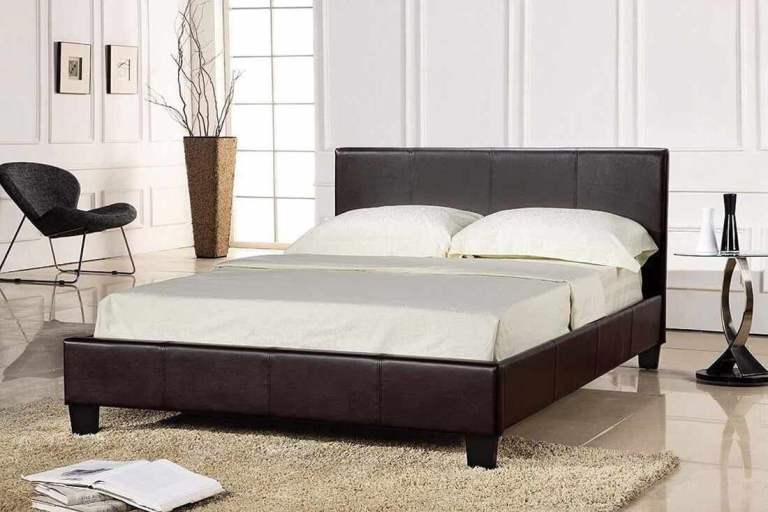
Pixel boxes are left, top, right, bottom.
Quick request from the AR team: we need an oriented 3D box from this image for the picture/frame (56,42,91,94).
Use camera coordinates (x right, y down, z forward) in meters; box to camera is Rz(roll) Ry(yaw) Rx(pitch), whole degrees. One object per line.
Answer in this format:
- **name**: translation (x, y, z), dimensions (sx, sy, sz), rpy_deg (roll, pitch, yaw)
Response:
- **picture/frame**: translation (-3.100, -1.849, 6.829), dimensions (0.076, 0.512, 0.390), rpy_deg (5, 8, 27)

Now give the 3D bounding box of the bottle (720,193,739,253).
- **bottle**: translation (1.855, -0.179, 3.673), dimensions (0.094, 0.302, 0.392), rpy_deg (4, 8, 25)

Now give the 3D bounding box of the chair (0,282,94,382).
- **chair**: translation (-2.029, 0.471, 4.124), dimensions (0.437, 0.433, 0.763), rpy_deg (1, 2, 5)

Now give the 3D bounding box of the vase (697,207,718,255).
- **vase**: translation (1.749, -0.138, 3.705), dimensions (0.107, 0.233, 0.399), rpy_deg (4, 7, 25)

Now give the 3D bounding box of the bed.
- **bed**: translation (0.315, 0.212, 3.479), dimensions (1.896, 0.999, 2.424), rpy_deg (0, 0, 28)
